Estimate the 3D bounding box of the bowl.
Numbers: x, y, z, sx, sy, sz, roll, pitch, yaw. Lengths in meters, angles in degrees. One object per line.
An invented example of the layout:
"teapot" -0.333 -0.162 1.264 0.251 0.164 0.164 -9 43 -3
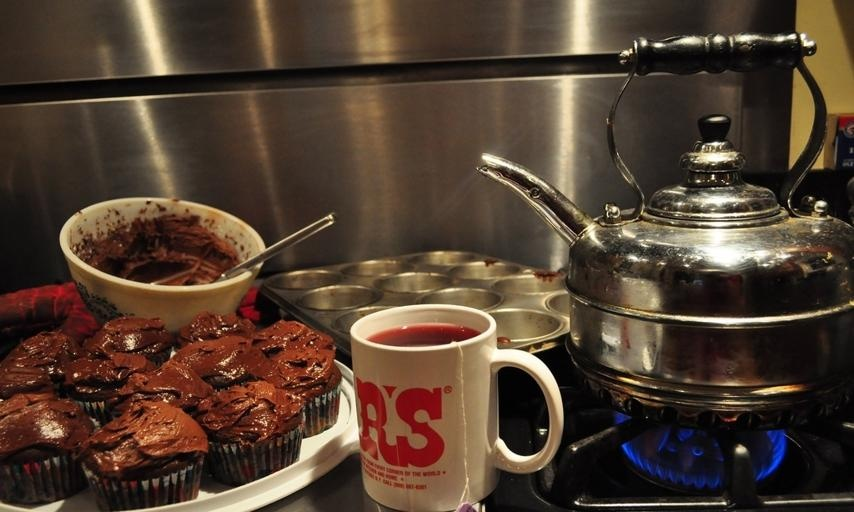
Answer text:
"bowl" -0.500 0.015 1.425 0.345 0.130 0.314 6 25 -3
